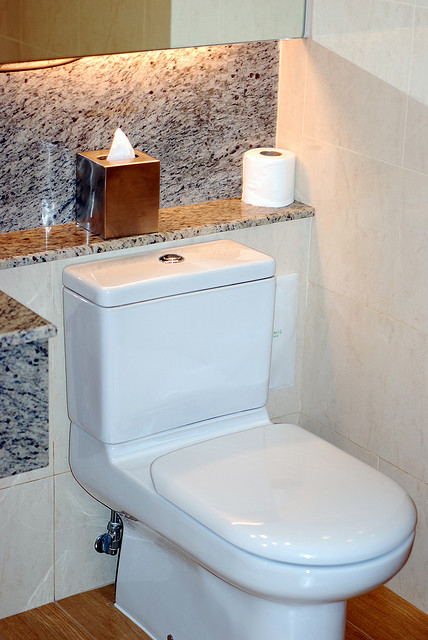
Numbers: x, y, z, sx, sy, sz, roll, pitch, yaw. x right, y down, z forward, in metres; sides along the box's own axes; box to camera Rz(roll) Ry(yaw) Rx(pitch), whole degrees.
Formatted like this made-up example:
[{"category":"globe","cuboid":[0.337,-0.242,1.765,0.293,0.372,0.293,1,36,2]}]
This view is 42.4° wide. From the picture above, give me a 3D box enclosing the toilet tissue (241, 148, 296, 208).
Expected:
[{"category":"toilet tissue","cuboid":[0.138,-0.360,1.390,0.124,0.126,0.138,9,30,15]}]
